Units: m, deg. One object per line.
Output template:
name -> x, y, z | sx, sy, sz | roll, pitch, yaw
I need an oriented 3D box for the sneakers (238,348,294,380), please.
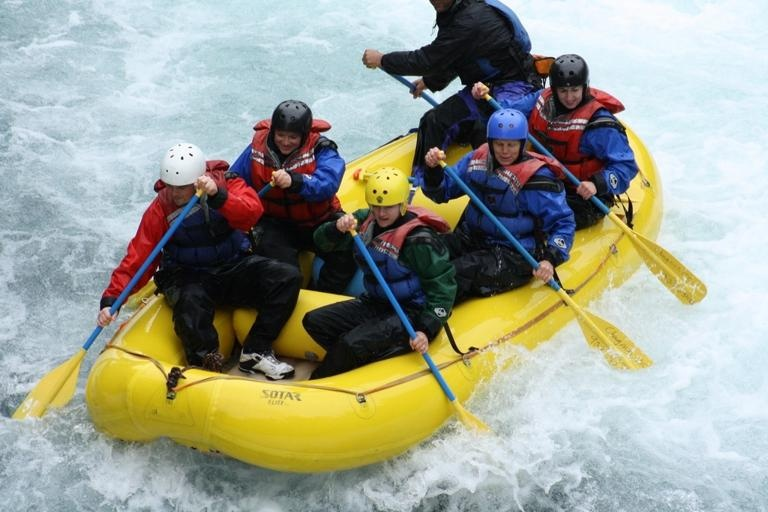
sneakers -> -0.998, 0.909, 6.256 | 0.445, 0.201, 0.213 | 6, 22, 3

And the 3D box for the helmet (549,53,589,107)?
helmet -> 1.647, -1.645, 6.789 | 0.302, 0.399, 0.396 | 0, 28, 12

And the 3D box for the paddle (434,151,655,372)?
paddle -> 1.363, 0.074, 6.526 | 2.705, 0.375, 0.215 | 41, 74, -10

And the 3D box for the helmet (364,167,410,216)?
helmet -> 0.016, -0.536, 5.963 | 0.281, 0.277, 0.362 | 5, 21, 15

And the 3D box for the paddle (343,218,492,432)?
paddle -> 0.251, 0.618, 6.046 | 1.950, 0.286, 0.146 | 57, 33, 7

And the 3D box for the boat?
boat -> 0.334, 0.566, 6.420 | 4.325, 0.924, 2.357 | -33, 63, -31

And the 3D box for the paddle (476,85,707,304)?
paddle -> 1.910, -0.615, 6.833 | 3.134, 0.359, 0.324 | 44, 68, -8

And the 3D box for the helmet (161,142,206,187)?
helmet -> -1.603, -0.773, 6.091 | 0.299, 0.311, 0.387 | 11, 22, 14

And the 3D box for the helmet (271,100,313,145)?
helmet -> -0.814, -1.090, 6.588 | 0.333, 0.425, 0.368 | -9, 81, -4

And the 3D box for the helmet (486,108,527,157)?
helmet -> 1.070, -1.068, 6.509 | 0.362, 0.433, 0.469 | 4, 26, 14
